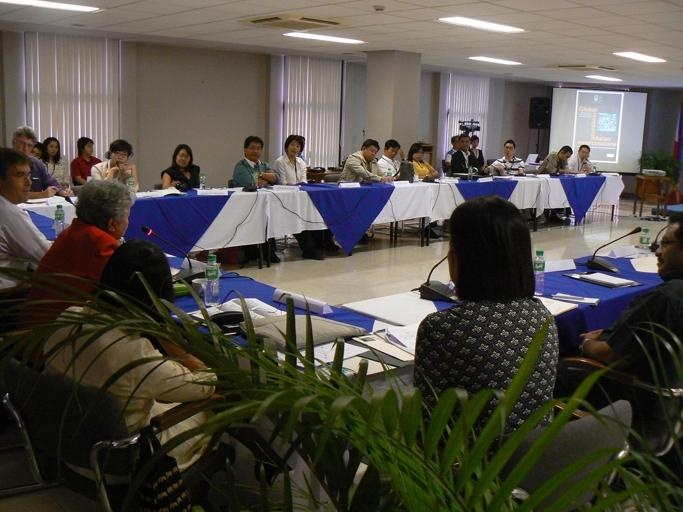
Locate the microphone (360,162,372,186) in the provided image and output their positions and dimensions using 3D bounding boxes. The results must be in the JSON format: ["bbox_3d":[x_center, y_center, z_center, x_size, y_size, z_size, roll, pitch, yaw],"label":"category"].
[{"bbox_3d":[0.378,-1.188,7.155,0.132,0.362,0.251,-4,-3,7],"label":"microphone"}]

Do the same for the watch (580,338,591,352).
[{"bbox_3d":[1.184,0.429,2.416,0.055,0.069,0.023,13,4,35],"label":"watch"}]

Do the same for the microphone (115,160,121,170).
[{"bbox_3d":[-2.547,-1.038,5.645,0.052,0.080,0.022,2,-1,33],"label":"microphone"}]

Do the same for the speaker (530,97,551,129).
[{"bbox_3d":[5.528,-3.971,13.770,0.534,0.810,0.342,1,9,10],"label":"speaker"}]
